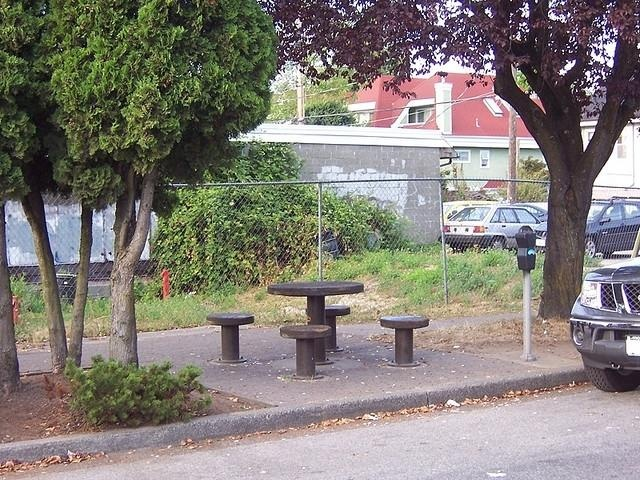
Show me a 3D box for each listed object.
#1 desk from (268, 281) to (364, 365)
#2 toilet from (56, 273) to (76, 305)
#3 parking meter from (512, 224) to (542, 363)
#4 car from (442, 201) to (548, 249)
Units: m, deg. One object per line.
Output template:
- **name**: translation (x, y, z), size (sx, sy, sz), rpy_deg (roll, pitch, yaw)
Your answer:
- **desk**: translation (-0.071, 1.088, 13.665), size (1.171, 1.087, 1.157), rpy_deg (0, -2, -26)
- **toilet**: translation (-4.399, 0.872, 18.616), size (0.289, 0.368, 0.524), rpy_deg (-4, 2, -14)
- **parking meter**: translation (2.635, 0.687, 13.581), size (0.215, 1.653, 0.432), rpy_deg (-2, -2, 27)
- **car**: translation (4.035, -0.316, 25.793), size (2.699, 1.152, 1.117), rpy_deg (0, 0, -28)
